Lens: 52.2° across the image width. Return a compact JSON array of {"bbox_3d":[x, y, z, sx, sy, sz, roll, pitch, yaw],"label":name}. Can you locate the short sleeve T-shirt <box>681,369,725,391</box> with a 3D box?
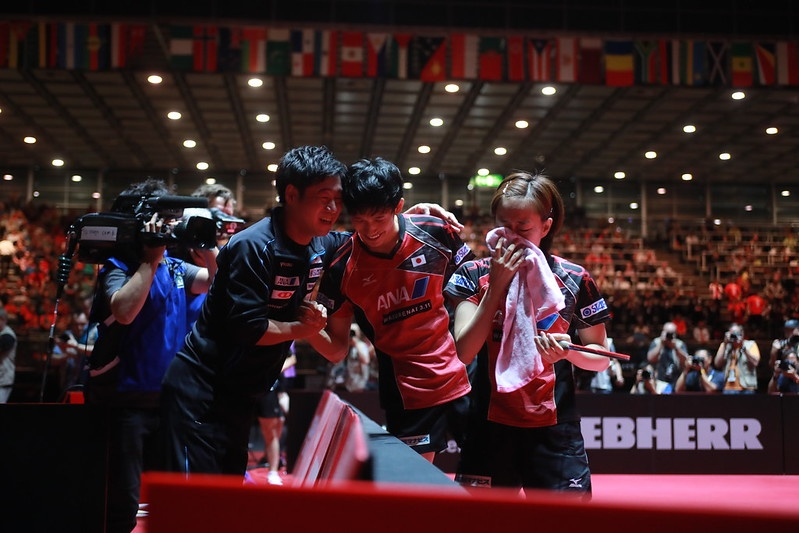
[{"bbox_3d":[4.488,1.644,11.953,0.466,0.142,0.329,0,-2,-15],"label":"short sleeve T-shirt"}]

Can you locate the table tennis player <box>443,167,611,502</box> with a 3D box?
[{"bbox_3d":[1.332,0.661,8.723,1.538,3.329,1.291,2,3,-5],"label":"table tennis player"}]

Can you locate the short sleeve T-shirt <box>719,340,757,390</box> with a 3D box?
[{"bbox_3d":[4.976,1.424,11.857,0.717,0.729,0.461,-2,-14,16],"label":"short sleeve T-shirt"}]

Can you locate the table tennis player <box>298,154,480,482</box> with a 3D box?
[{"bbox_3d":[-0.111,0.466,9.017,1.796,3.061,1.221,3,-2,-5],"label":"table tennis player"}]
